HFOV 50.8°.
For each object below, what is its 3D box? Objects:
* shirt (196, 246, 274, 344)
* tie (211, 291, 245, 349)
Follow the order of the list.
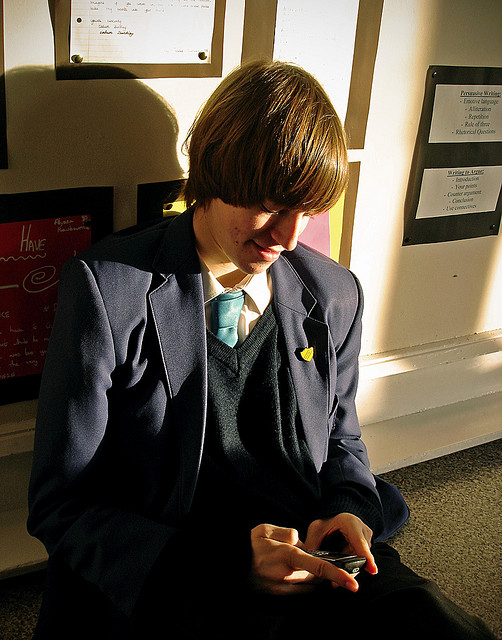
[{"bbox_3d":[-0.014,-0.042,0.899,0.100,0.157,0.139,3,-2,8],"label":"shirt"},{"bbox_3d":[-0.040,0.002,0.865,0.054,0.109,0.026,-13,29,-30],"label":"tie"}]
